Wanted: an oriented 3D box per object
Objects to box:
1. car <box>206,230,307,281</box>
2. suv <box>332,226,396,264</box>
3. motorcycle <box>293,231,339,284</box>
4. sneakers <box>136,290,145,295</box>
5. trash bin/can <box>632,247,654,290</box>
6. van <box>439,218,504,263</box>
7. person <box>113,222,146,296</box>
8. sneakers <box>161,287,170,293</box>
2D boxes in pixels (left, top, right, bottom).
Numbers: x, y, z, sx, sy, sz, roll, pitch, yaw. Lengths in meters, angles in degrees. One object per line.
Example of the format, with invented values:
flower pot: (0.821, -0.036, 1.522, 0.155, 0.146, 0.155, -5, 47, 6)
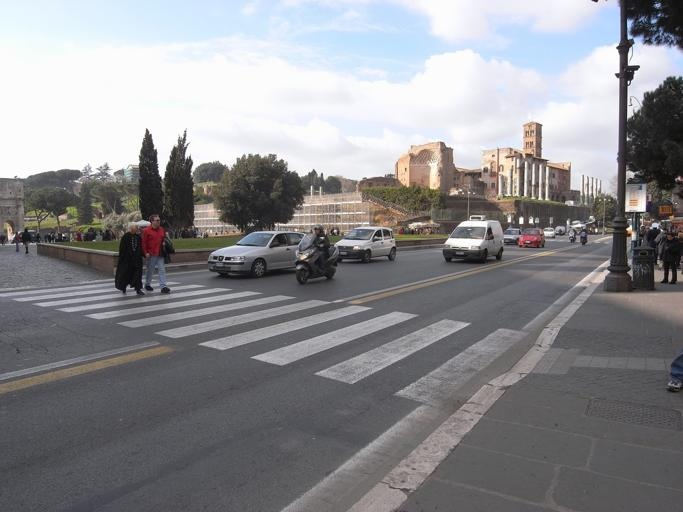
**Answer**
car: (-2.550, -0.046, 19.258, 1.380, 1.132, 3.165, -2, -2, 29)
suv: (1.055, -0.508, 25.478, 1.493, 1.399, 3.044, 3, 5, 28)
motorcycle: (-0.780, -0.048, 17.078, 0.603, 1.543, 1.661, 3, 5, 30)
sneakers: (-4.744, 0.861, 14.170, 0.090, 0.133, 0.287, 4, 12, -5)
trash bin/can: (7.614, 0.299, 15.073, 0.484, 1.062, 0.314, 2, 5, 26)
van: (5.709, -0.637, 25.500, 1.485, 1.466, 2.716, -2, -1, 30)
person: (-5.051, 0.056, 14.271, 0.652, 1.675, 0.924, -2, 5, -22)
sneakers: (-4.246, 0.821, 14.472, 0.185, 0.148, 0.116, -6, 12, -13)
